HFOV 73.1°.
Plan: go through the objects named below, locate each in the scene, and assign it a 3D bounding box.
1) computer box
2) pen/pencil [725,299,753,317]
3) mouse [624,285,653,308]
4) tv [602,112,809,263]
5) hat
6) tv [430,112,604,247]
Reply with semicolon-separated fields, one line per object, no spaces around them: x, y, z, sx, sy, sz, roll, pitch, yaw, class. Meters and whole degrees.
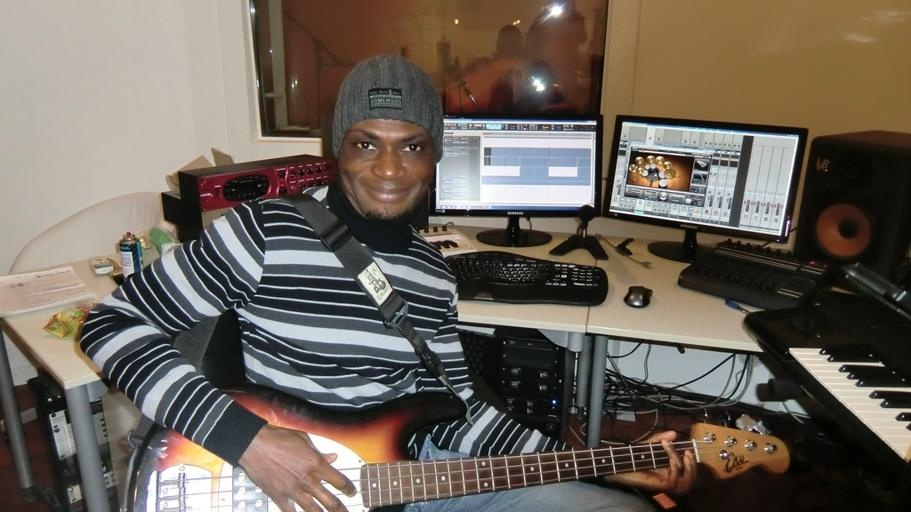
0.457;0.658;3.277;0.403;0.533;0.391;0;7;0;computer box
1.307;0.240;2.837;0.127;0.022;0.021;29;-3;21;pen/pencil
0.850;0.188;2.869;0.094;0.036;0.115;-2;39;18;mouse
1.271;-0.356;3.246;0.978;0.704;0.320;16;27;42;tv
-0.267;-0.647;2.531;0.431;0.339;0.416;-7;12;-39;hat
0.325;-0.434;3.373;1.045;0.688;0.324;-3;16;-21;tv
